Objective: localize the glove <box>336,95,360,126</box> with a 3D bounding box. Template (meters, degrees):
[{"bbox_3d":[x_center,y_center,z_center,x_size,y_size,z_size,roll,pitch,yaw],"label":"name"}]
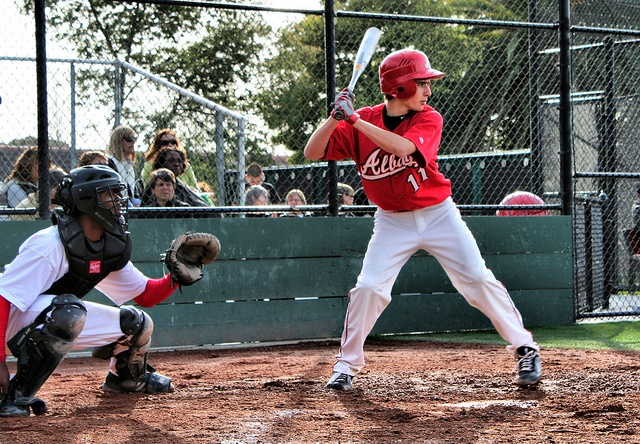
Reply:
[{"bbox_3d":[0.208,-0.859,6.880,0.176,0.209,0.186,-3,7,-15],"label":"glove"}]

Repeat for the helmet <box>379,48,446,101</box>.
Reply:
[{"bbox_3d":[0.748,-1.175,7.064,0.474,0.329,0.354,-1,5,17],"label":"helmet"}]

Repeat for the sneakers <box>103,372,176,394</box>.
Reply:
[{"bbox_3d":[-1.418,1.290,7.085,0.562,0.205,0.205,1,-3,-6],"label":"sneakers"}]

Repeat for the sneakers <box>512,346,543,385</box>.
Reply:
[{"bbox_3d":[1.682,1.168,7.177,0.194,0.290,0.240,1,7,11],"label":"sneakers"}]

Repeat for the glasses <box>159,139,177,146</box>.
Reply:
[{"bbox_3d":[-1.559,-0.823,9.244,0.194,0.068,0.058,-7,9,-42],"label":"glasses"}]

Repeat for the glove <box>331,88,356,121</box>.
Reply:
[{"bbox_3d":[0.189,-0.928,6.896,0.157,0.250,0.100,-3,-33,20],"label":"glove"}]
